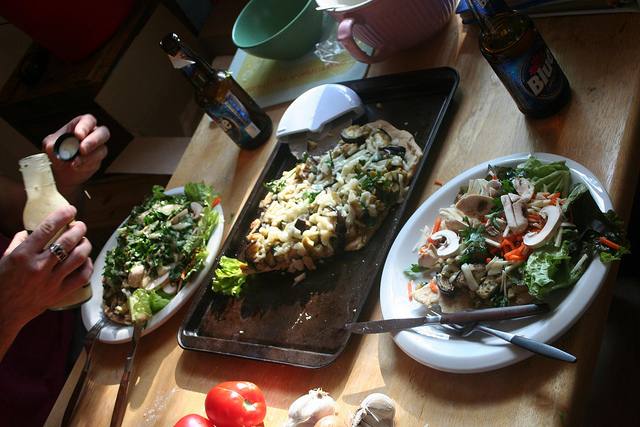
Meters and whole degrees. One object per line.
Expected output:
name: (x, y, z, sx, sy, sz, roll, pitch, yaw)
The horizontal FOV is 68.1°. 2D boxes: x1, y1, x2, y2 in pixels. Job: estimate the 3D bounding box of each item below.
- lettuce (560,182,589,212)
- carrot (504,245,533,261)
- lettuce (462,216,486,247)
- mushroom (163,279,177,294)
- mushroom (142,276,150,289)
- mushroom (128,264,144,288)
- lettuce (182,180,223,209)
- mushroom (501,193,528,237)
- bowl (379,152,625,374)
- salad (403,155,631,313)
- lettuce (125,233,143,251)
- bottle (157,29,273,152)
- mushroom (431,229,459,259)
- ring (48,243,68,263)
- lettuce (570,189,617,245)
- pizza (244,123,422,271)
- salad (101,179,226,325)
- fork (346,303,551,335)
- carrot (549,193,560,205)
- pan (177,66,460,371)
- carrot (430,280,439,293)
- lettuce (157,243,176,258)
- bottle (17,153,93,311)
lettuce: (0.778, -0.052, 1.448, 0.118, 0.016, 0.046, -47, 45, 7)
carrot: (0.604, 0.119, 1.463, 0.051, 0.014, 0.056, 2, 36, 37)
lettuce: (0.499, 0.068, 1.540, 0.064, 0.019, 0.063, -36, 26, -19)
mushroom: (-0.611, 0.300, 1.945, 0.043, 0.013, 0.044, 36, 76, 15)
mushroom: (-0.720, 0.286, 1.964, 0.020, 0.011, 0.047, 20, 73, -9)
mushroom: (-0.763, 0.263, 1.970, 0.027, 0.053, 0.089, -22, 52, 66)
lettuce: (-0.580, -0.077, 2.182, 0.237, 0.224, 0.080, -11, 89, 49)
mushroom: (0.617, 0.004, 1.492, 0.062, 0.034, 0.130, -4, 75, 4)
bowl: (0.595, 0.117, 1.519, 0.842, 0.151, 0.731, -47, 26, -21)
salad: (0.619, 0.073, 1.422, 0.549, 0.122, 0.568, -29, 42, 16)
lettuce: (-0.809, 0.125, 2.057, 0.060, 0.019, 0.066, 12, 70, 22)
bottle: (-0.447, -0.537, 2.079, 0.199, 0.607, 0.210, -22, 45, 23)
mushroom: (0.413, 0.100, 1.566, 0.075, 0.023, 0.091, -8, 67, 31)
ring: (-0.975, 0.146, 1.765, 0.032, 0.049, 0.044, -39, 73, -23)
lettuce: (0.800, 0.020, 1.415, 0.092, 0.032, 0.143, -28, 70, 7)
pizza: (0.095, 0.004, 1.986, 0.743, 0.146, 0.458, -41, 53, 13)
salad: (-0.638, 0.165, 2.103, 0.441, 0.230, 0.637, 5, 62, 36)
fork: (0.421, 0.329, 1.470, 0.621, 0.077, 0.052, -6, 93, 17)
carrot: (0.727, -0.044, 1.475, 0.020, 0.009, 0.037, 28, 80, 40)
pan: (0.045, 0.106, 1.895, 0.746, 0.110, 1.406, 8, 65, 37)
carrot: (0.373, 0.242, 1.546, 0.018, 0.008, 0.047, -56, 28, 7)
lettuce: (-0.638, 0.153, 1.998, 0.054, 0.018, 0.061, 1, 57, 0)
bottle: (-1.049, 0.060, 1.876, 0.175, 0.591, 0.173, -3, 22, 1)
